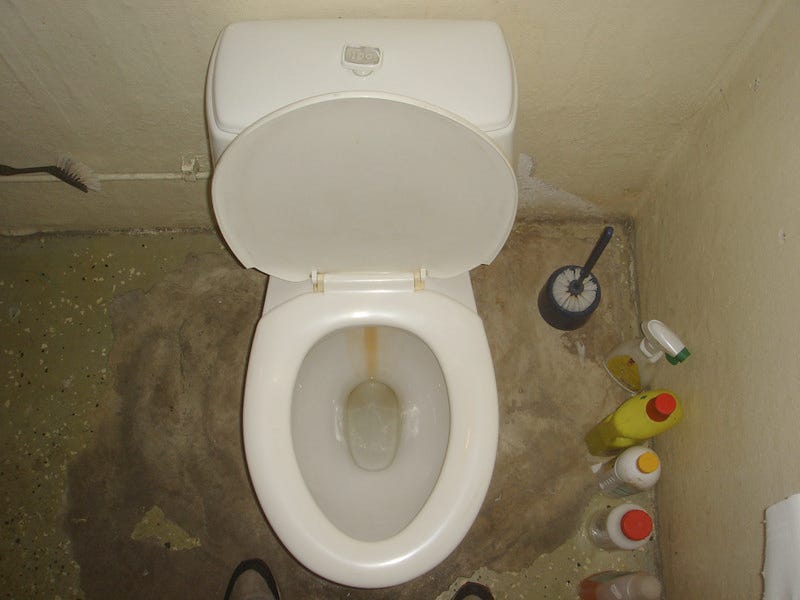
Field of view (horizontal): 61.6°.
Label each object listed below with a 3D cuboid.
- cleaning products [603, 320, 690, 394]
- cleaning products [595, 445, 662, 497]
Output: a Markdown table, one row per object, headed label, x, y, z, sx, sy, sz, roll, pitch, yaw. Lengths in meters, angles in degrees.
| label | x | y | z | sx | sy | sz | roll | pitch | yaw |
| --- | --- | --- | --- | --- | --- | --- | --- | --- | --- |
| cleaning products | 0.591 | 0.135 | 1.626 | 0.083 | 0.209 | 0.149 | -36 | 72 | -28 |
| cleaning products | 0.540 | 0.404 | 1.590 | 0.056 | 0.130 | 0.062 | 27 | 76 | 2 |
